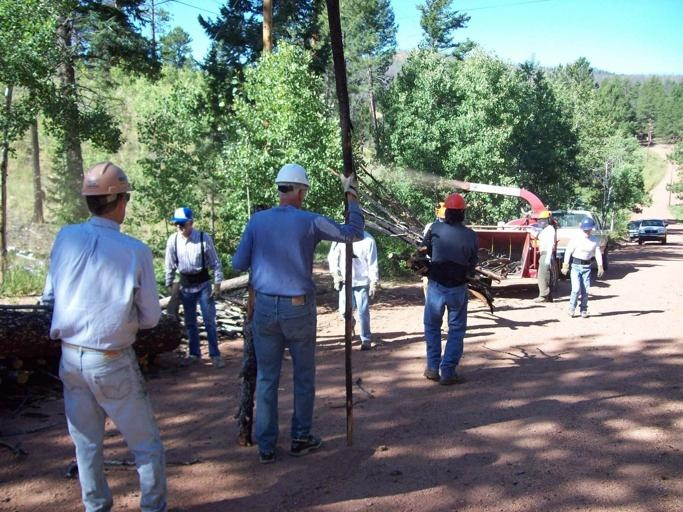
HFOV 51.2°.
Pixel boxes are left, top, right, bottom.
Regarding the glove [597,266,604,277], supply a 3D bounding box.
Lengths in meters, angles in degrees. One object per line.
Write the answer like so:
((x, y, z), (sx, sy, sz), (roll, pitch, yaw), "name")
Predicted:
((6.185, 0.379, 17.028), (0.110, 0.365, 0.139), (0, 4, 15), "glove")

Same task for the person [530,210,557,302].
((4.811, 0.037, 16.753), (0.437, 2.111, 0.927), (1, 12, 16), "person")

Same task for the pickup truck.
((7.097, -0.374, 20.873), (1.705, 1.804, 3.732), (-1, 7, 16), "pickup truck")

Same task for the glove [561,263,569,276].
((5.109, 0.292, 16.321), (0.100, 0.299, 0.221), (13, 4, 18), "glove")

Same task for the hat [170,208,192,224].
((-2.603, -0.649, 11.642), (0.280, 0.272, 0.445), (-5, 12, -14), "hat")

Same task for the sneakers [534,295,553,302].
((4.762, 0.995, 16.720), (0.435, 0.204, 0.164), (3, -3, -16), "sneakers")

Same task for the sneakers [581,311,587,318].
((4.933, 1.195, 14.495), (0.100, 0.130, 0.290), (-1, -8, 15), "sneakers")

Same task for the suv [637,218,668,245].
((17.511, -1.430, 40.133), (0.968, 0.964, 2.184), (-2, -6, 26), "suv")

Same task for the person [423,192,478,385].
((1.544, 0.486, 10.511), (0.700, 2.753, 0.738), (6, 14, 35), "person")

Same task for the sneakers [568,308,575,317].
((4.752, 1.185, 14.691), (0.099, 0.180, 0.171), (1, -4, -3), "sneakers")

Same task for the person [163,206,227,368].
((-2.449, 0.503, 11.827), (0.942, 2.612, 0.818), (0, 12, 9), "person")

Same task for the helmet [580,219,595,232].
((4.930, -0.647, 14.237), (0.247, 0.163, 0.320), (-6, 14, 44), "helmet")

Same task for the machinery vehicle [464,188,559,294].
((4.052, -0.570, 18.036), (1.834, 3.045, 3.099), (-1, 2, 31), "machinery vehicle")

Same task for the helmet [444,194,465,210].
((1.679, -0.799, 10.541), (0.208, 0.153, 0.276), (3, 2, 8), "helmet")

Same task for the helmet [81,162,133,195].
((-2.423, -0.778, 7.319), (0.314, 0.234, 0.426), (6, 16, 26), "helmet")

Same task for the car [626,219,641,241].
((17.047, -1.485, 41.285), (0.844, 0.904, 1.810), (-2, -2, 8), "car")
